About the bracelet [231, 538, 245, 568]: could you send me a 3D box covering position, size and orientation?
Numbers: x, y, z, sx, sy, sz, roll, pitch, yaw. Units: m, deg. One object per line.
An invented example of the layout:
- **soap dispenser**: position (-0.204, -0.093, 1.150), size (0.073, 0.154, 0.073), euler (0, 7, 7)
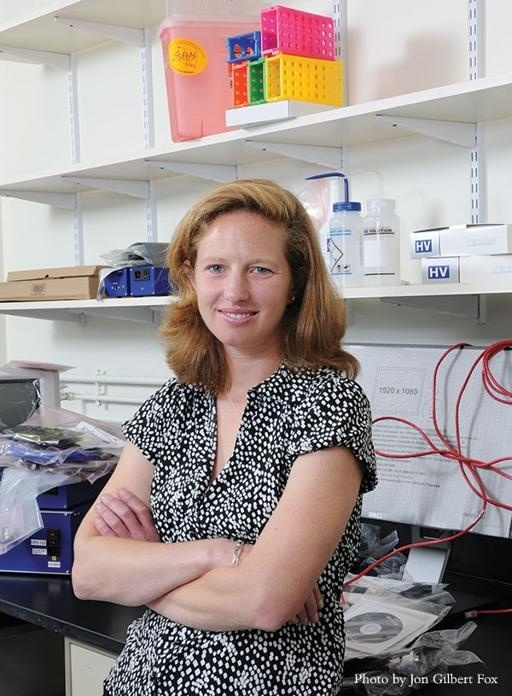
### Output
- **bracelet**: position (-0.021, 0.252, 0.748), size (0.014, 0.019, 0.027), euler (1, 5, 4)

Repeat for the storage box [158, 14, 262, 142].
- **storage box**: position (-0.129, -0.729, 1.602), size (0.263, 0.350, 0.101), euler (1, 5, 5)
